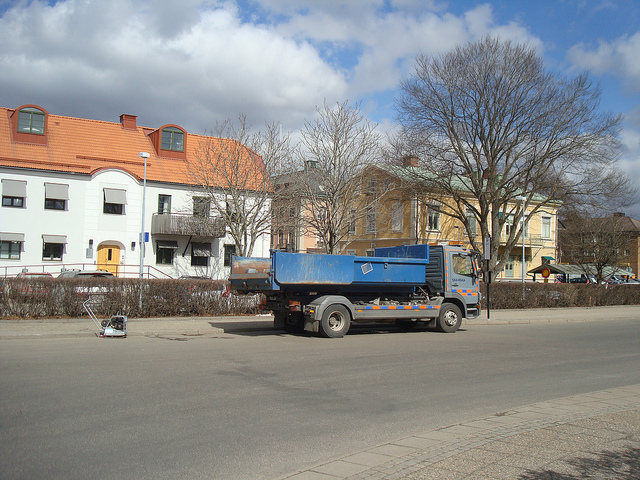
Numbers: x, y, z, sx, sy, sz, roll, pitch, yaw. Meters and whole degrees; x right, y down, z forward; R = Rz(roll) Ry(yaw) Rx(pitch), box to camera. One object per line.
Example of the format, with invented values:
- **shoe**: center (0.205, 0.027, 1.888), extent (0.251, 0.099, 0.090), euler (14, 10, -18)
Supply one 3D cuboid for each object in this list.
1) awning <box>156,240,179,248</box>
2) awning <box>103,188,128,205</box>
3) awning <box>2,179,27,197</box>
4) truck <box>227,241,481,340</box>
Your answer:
- **awning**: center (-10.133, 0.277, 40.385), extent (1.391, 0.503, 0.534), euler (2, -1, -19)
- **awning**: center (-13.141, -2.775, 38.743), extent (0.127, 0.745, 0.992), euler (-30, -29, 35)
- **awning**: center (-18.199, -3.047, 36.015), extent (0.942, 0.887, 0.315), euler (4, -19, -41)
- **truck**: center (1.329, 1.617, 20.974), extent (8.194, 3.305, 3.534), euler (2, -3, -28)
